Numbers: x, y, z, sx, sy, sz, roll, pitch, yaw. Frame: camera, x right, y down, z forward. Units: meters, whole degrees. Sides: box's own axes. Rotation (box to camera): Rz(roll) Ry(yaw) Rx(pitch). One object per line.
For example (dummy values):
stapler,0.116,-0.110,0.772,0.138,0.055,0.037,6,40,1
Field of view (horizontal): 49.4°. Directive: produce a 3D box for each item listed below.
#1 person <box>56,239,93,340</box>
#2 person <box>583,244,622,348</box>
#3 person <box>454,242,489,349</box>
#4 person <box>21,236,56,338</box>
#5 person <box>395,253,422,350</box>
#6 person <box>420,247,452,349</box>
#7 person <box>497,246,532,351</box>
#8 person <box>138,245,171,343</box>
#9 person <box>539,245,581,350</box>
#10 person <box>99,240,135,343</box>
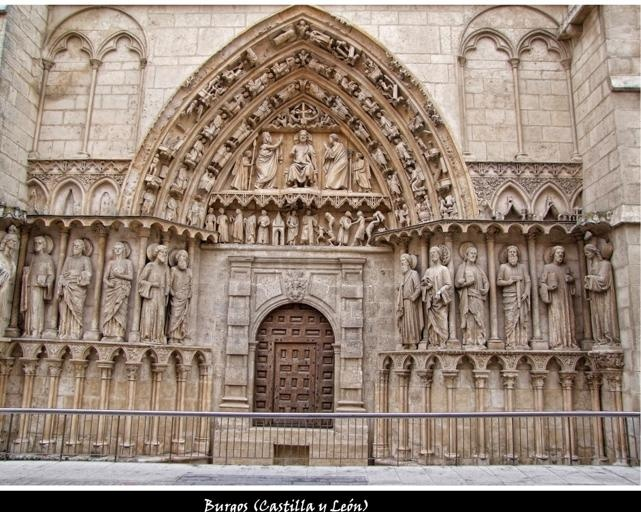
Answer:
person,-4.962,0.619,13.968,0.683,2.042,0.506,1,-17,-9
person,5.242,0.720,12.953,0.617,1.854,0.411,-15,-22,37
person,2.977,0.826,13.643,0.655,1.943,0.484,-3,-17,7
person,-5.710,0.567,14.058,0.619,2.098,0.364,3,-18,-14
person,1.791,0.900,14.065,0.671,1.888,0.401,-11,-20,30
person,2.266,0.789,13.729,0.707,1.971,0.468,-9,-19,24
person,3.782,0.812,13.599,0.609,1.945,0.366,-6,-18,14
person,-3.355,0.741,13.979,0.620,1.975,0.459,5,-18,-20
person,4.652,0.806,13.593,0.726,1.956,0.454,-5,-18,12
person,-4.059,0.708,13.913,0.600,1.924,0.445,3,-18,-15
